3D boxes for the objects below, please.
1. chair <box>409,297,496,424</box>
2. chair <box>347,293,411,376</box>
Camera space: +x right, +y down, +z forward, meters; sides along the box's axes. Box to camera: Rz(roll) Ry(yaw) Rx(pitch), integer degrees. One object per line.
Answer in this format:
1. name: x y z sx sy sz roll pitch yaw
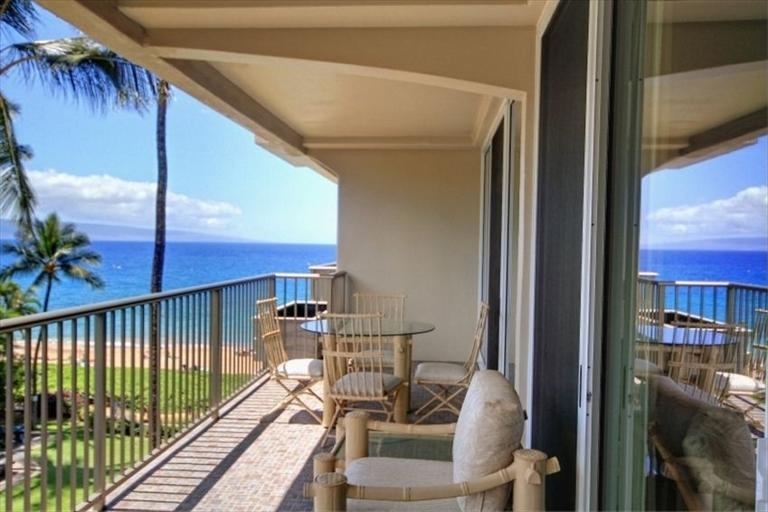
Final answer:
1. chair: 0.583 1.020 5.279 0.694 1.153 0.617 0 3 8
2. chair: -0.042 0.793 5.742 0.673 1.225 0.732 1 15 3
